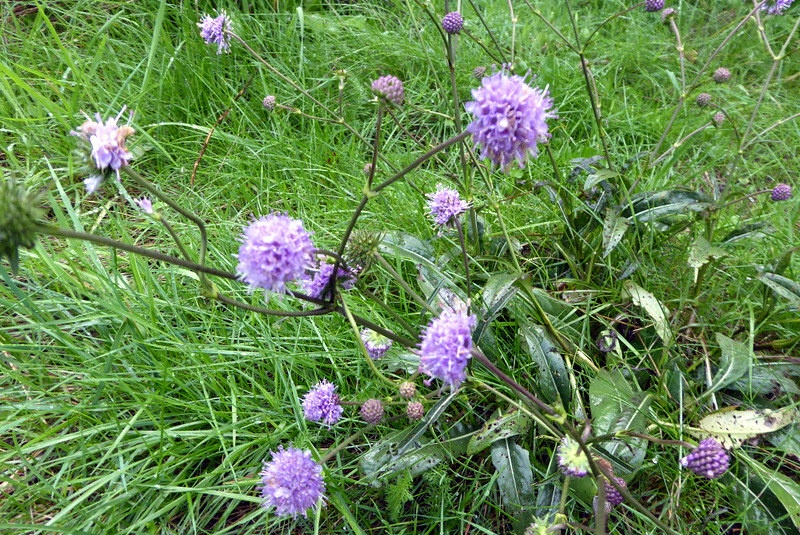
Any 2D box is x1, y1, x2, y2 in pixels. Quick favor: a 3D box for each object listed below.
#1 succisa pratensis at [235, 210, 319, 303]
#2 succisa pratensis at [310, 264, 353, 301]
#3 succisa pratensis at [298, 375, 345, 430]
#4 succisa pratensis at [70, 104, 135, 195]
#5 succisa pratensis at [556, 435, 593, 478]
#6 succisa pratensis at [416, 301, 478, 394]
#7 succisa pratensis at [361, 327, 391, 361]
[{"bbox_3d":[-0.518,-0.068,2.833,0.310,0.349,0.355,-6,9,16],"label":"succisa pratensis"},{"bbox_3d":[-0.318,0.061,2.979,0.103,0.177,0.163,11,21,-13],"label":"succisa pratensis"},{"bbox_3d":[-0.393,0.648,3.204,0.164,0.267,0.169,-8,10,-26],"label":"succisa pratensis"},{"bbox_3d":[-1.253,-0.528,2.759,0.217,0.299,0.402,-13,51,6],"label":"succisa pratensis"},{"bbox_3d":[0.762,0.844,2.792,0.168,0.263,0.182,-11,62,13],"label":"succisa pratensis"},{"bbox_3d":[0.205,0.305,2.818,0.268,0.401,0.224,-6,14,-8],"label":"succisa pratensis"},{"bbox_3d":[-0.125,0.385,3.297,0.148,0.161,0.157,27,57,20],"label":"succisa pratensis"}]
